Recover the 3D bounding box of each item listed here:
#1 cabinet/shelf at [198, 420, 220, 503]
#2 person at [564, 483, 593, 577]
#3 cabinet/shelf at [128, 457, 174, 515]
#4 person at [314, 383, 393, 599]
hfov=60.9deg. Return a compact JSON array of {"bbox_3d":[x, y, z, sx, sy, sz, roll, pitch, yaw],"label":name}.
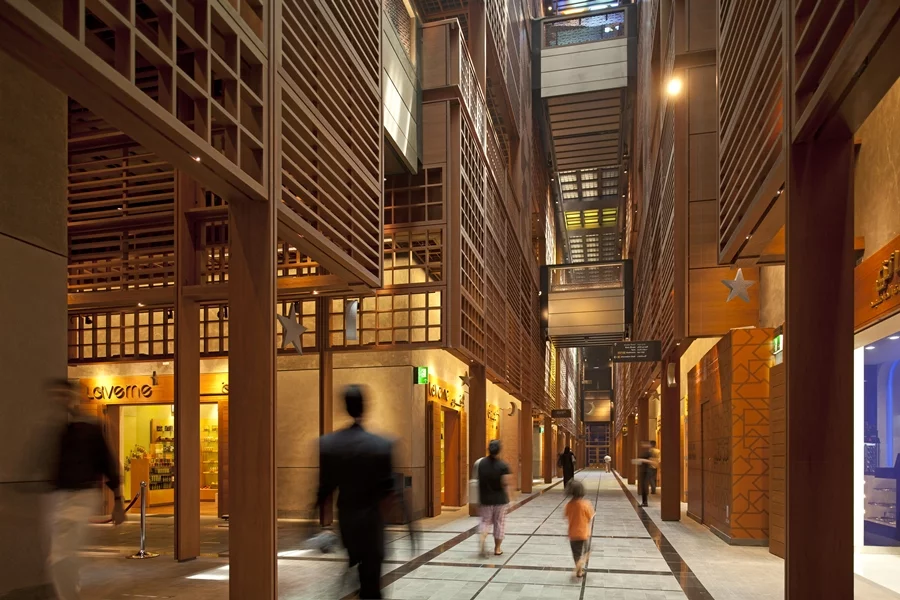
[{"bbox_3d":[-7.016,4.631,22.152,0.439,2.291,0.733,0,-9,-23],"label":"cabinet/shelf"},{"bbox_3d":[2.137,3.751,12.853,0.432,1.516,2.123,-4,-10,7],"label":"person"},{"bbox_3d":[-8.054,4.987,20.674,0.439,1.313,1.348,-11,-17,3],"label":"cabinet/shelf"},{"bbox_3d":[-0.973,1.950,7.831,0.815,2.163,0.393,-2,-8,-6],"label":"person"}]
